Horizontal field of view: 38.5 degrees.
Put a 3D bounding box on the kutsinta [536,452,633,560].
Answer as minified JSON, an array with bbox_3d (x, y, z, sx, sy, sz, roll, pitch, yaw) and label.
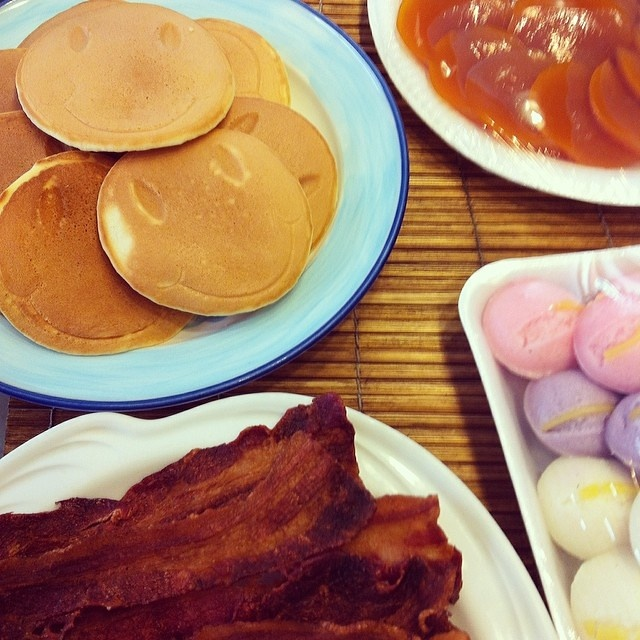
[{"bbox_3d":[0.316,0.225,1.080,0.086,0.064,0.127,-9,65,3],"label":"kutsinta"}]

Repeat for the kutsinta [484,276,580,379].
[{"bbox_3d":[0.272,0.030,1.152,0.102,0.059,0.127,-19,72,1],"label":"kutsinta"}]
